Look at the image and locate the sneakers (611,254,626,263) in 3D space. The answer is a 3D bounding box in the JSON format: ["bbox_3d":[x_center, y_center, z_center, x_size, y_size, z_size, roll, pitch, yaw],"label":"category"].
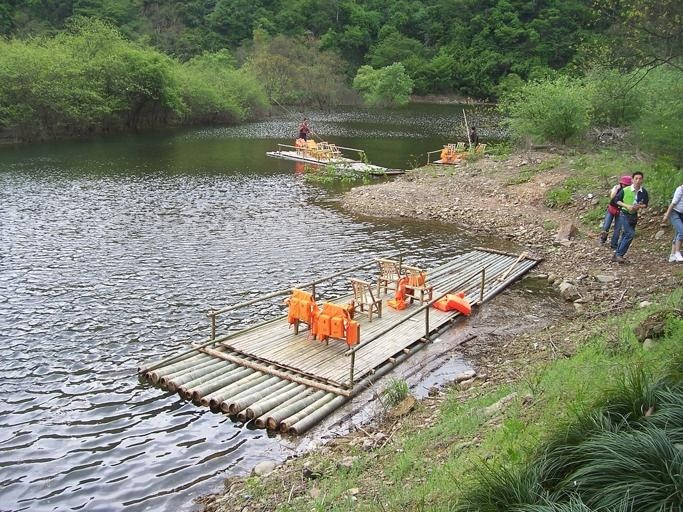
[{"bbox_3d":[9.672,0.118,21.270,0.164,0.240,0.518,-20,7,-21],"label":"sneakers"}]

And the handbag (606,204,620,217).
[{"bbox_3d":[9.585,-1.580,21.371,0.148,0.353,0.267,-31,40,-2],"label":"handbag"}]

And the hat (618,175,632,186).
[{"bbox_3d":[9.825,-2.569,21.009,0.455,0.332,0.584,9,13,31],"label":"hat"}]

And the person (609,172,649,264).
[{"bbox_3d":[9.884,-1.311,20.794,1.203,3.241,0.985,-13,22,-35],"label":"person"}]

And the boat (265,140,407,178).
[{"bbox_3d":[-0.507,-6.906,43.879,2.753,1.521,10.109,-18,25,-39],"label":"boat"}]

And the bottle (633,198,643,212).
[{"bbox_3d":[9.959,-1.735,20.434,0.405,0.260,0.856,14,5,28],"label":"bottle"}]
